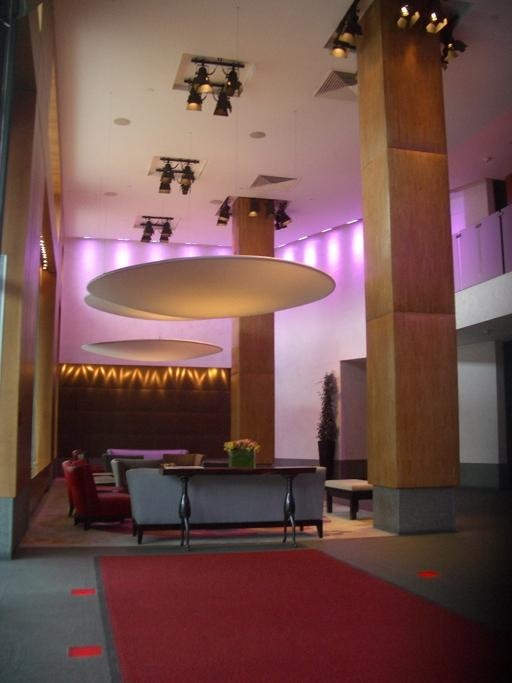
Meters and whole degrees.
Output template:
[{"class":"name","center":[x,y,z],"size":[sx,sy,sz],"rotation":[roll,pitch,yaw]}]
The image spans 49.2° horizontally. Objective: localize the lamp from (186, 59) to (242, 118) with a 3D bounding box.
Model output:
[{"class":"lamp","center":[-0.534,-3.648,7.804],"size":[0.667,0.435,0.579],"rotation":[3,11,-6]}]

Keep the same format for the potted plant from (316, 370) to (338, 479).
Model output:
[{"class":"potted plant","center":[1.776,2.063,13.825],"size":[0.483,2.588,0.406],"rotation":[5,-13,-28]}]

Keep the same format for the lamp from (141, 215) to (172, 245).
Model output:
[{"class":"lamp","center":[-2.450,-2.865,14.053],"size":[0.616,0.408,0.642],"rotation":[2,-44,-9]}]

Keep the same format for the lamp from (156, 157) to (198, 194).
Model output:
[{"class":"lamp","center":[-1.571,-3.221,11.097],"size":[0.823,0.553,1.098],"rotation":[1,-12,-12]}]

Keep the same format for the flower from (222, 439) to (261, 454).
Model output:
[{"class":"flower","center":[-0.122,1.158,6.121],"size":[0.463,0.187,0.320],"rotation":[3,-4,-8]}]

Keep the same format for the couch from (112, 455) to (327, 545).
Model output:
[{"class":"couch","center":[-0.286,1.713,5.916],"size":[2.114,0.792,0.803],"rotation":[2,-12,-15]}]
